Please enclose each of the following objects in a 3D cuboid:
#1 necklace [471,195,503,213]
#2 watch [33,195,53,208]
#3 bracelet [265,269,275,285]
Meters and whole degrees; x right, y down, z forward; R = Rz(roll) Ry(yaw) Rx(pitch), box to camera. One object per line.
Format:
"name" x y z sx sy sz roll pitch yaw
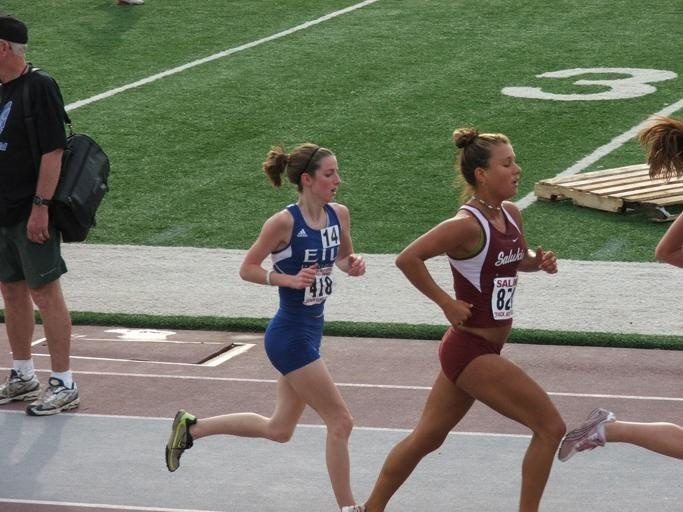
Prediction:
"necklace" 1.250 -0.456 10.573 0.193 0.028 0.148 23 -5 -25
"watch" -2.921 -0.549 12.067 0.128 0.101 0.118 17 -5 -29
"bracelet" -0.620 0.177 10.668 0.108 0.099 0.081 -4 -23 16
